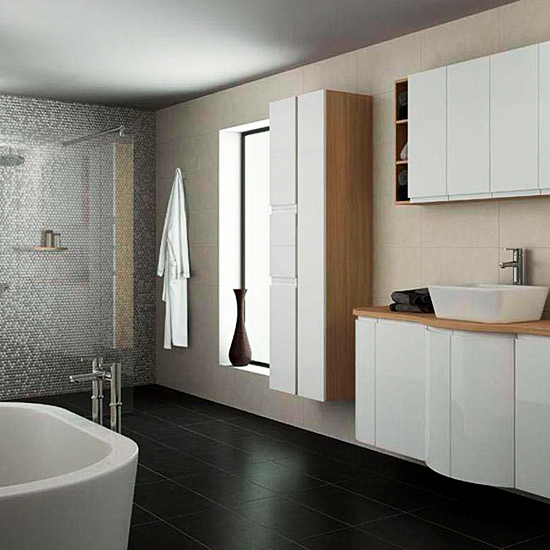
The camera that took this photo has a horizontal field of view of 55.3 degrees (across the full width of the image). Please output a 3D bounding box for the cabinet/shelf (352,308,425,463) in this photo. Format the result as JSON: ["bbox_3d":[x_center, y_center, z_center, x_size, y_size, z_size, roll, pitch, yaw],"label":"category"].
[{"bbox_3d":[0.702,0.570,2.877,0.451,0.704,0.344,0,-1,40],"label":"cabinet/shelf"}]

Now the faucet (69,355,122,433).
[{"bbox_3d":[-1.079,0.744,3.125,0.242,0.478,0.240,6,10,38],"label":"faucet"}]

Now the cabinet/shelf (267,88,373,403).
[{"bbox_3d":[0.295,-0.187,3.385,0.668,1.950,0.454,0,-2,7],"label":"cabinet/shelf"}]

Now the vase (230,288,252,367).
[{"bbox_3d":[-0.309,0.454,4.622,0.193,0.674,0.207,0,-2,-5],"label":"vase"}]

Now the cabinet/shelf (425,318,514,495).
[{"bbox_3d":[0.896,0.686,2.443,0.381,0.617,0.347,-1,-4,18],"label":"cabinet/shelf"}]

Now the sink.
[{"bbox_3d":[0.914,0.134,2.392,0.237,0.119,0.320,2,-3,-25],"label":"sink"}]

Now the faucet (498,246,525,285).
[{"bbox_3d":[1.173,-0.042,2.592,0.104,0.185,0.045,0,-8,0],"label":"faucet"}]
